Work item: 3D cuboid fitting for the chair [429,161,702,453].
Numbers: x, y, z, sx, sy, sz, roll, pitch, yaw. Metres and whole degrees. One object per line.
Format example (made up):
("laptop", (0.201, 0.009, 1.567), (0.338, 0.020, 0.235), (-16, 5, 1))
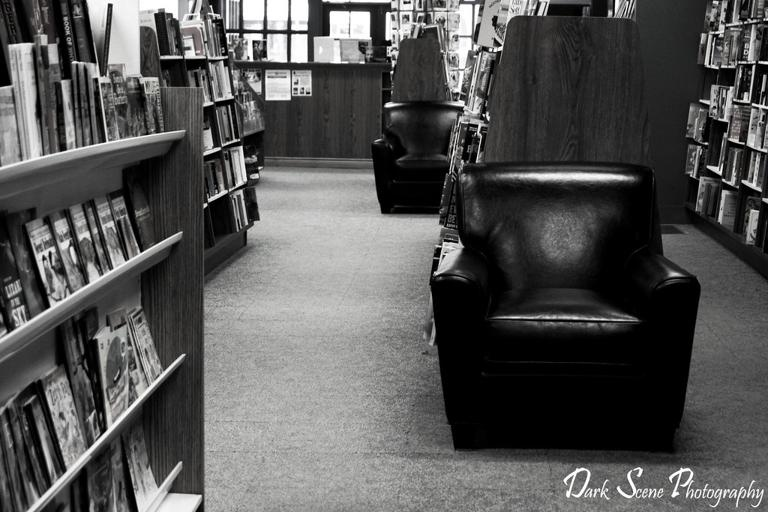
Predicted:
("chair", (0.793, 0.183, 2.749), (1.125, 1.099, 0.898), (0, 20, 4))
